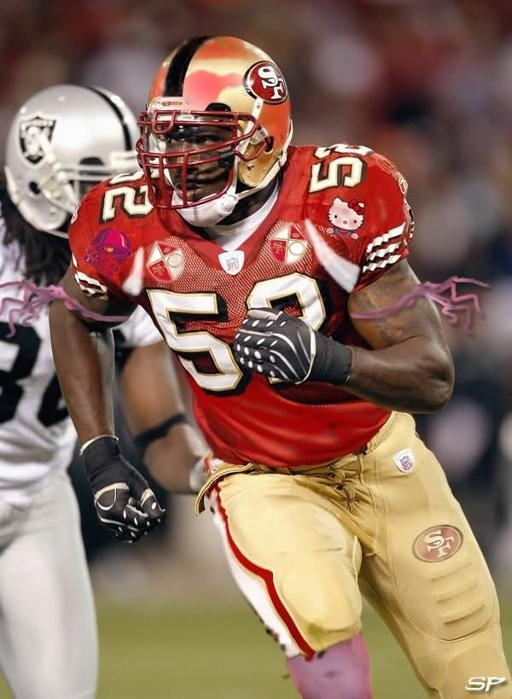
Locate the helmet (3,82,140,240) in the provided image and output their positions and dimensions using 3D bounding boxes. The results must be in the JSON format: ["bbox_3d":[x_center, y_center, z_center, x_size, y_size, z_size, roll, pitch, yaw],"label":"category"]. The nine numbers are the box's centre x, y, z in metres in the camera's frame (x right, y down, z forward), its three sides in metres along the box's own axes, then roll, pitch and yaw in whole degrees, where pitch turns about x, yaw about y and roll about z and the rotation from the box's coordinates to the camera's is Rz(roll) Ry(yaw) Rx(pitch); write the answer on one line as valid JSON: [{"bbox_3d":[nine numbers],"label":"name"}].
[{"bbox_3d":[-0.356,-0.567,2.218,0.557,0.415,0.414,2,12,17],"label":"helmet"}]

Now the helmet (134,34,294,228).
[{"bbox_3d":[-0.075,-0.440,1.443,0.370,0.320,0.278,-20,28,-33],"label":"helmet"}]

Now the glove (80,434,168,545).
[{"bbox_3d":[-0.266,0.275,1.483,0.144,0.110,0.238,-39,53,4],"label":"glove"}]
